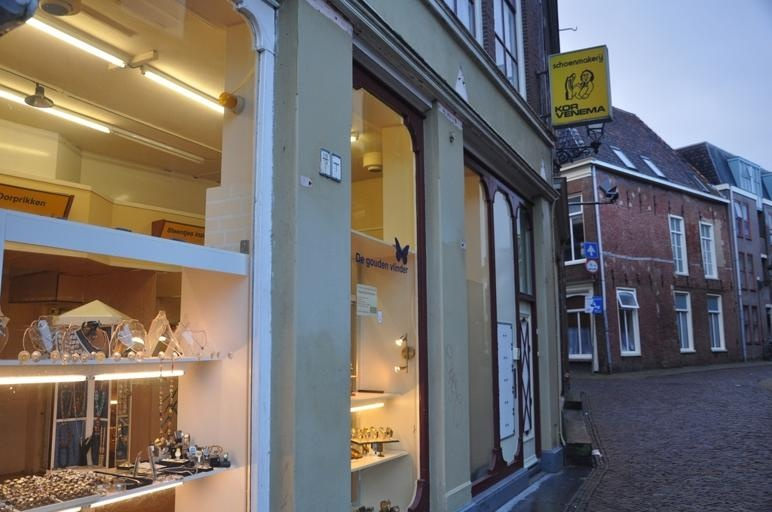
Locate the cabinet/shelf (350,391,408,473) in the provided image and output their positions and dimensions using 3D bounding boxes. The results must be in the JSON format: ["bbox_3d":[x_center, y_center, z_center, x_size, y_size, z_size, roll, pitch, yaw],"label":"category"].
[{"bbox_3d":[-0.166,1.972,7.040,0.856,0.855,0.664,7,-11,-36],"label":"cabinet/shelf"}]

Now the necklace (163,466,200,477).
[{"bbox_3d":[-1.661,1.741,4.835,0.269,0.076,0.108,-2,-12,-16],"label":"necklace"}]

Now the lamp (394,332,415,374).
[{"bbox_3d":[0.205,1.132,7.022,0.254,0.432,0.085,-5,-11,-1],"label":"lamp"}]

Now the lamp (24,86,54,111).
[{"bbox_3d":[-4.553,-2.067,7.891,0.264,0.290,0.263,10,-25,-37],"label":"lamp"}]

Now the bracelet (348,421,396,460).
[{"bbox_3d":[-0.147,2.110,6.854,0.591,0.331,0.224,-1,-12,-20],"label":"bracelet"}]
